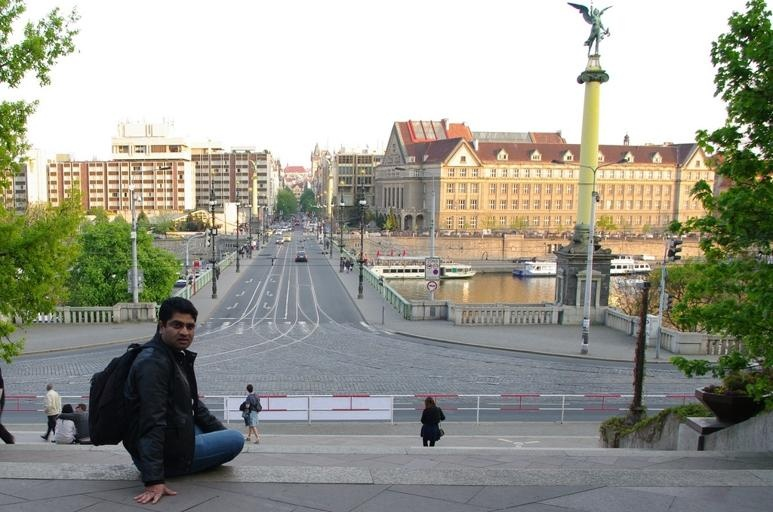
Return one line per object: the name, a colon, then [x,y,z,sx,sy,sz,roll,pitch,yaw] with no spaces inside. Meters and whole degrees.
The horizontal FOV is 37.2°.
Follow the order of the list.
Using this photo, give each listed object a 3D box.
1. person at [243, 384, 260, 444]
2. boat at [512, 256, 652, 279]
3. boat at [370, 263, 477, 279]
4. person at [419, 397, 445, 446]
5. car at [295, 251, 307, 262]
person: [-4.405,5.155,37.598,0.563,1.793,1.399,1,0,-6]
boat: [14.606,0.937,85.810,10.177,1.877,1.951,-1,6,-5]
boat: [3.494,1.504,105.193,7.833,1.397,9.989,1,0,15]
person: [1.396,5.314,35.516,0.795,1.850,0.687,2,9,-10]
car: [-7.613,0.093,102.648,0.960,0.704,2.111,0,5,-6]
